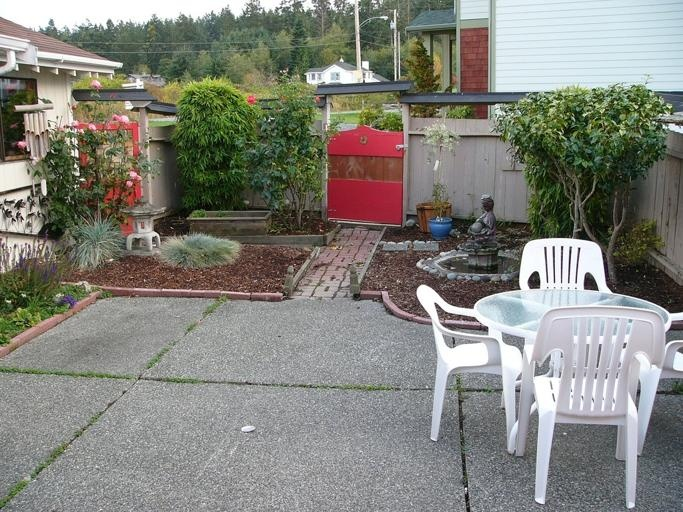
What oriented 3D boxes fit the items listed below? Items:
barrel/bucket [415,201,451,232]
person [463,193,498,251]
[{"bbox_3d":[1.794,-0.796,10.544,0.586,0.453,0.601,-1,14,0],"label":"barrel/bucket"},{"bbox_3d":[2.124,-0.502,8.210,0.434,0.801,0.411,-2,14,2],"label":"person"}]
